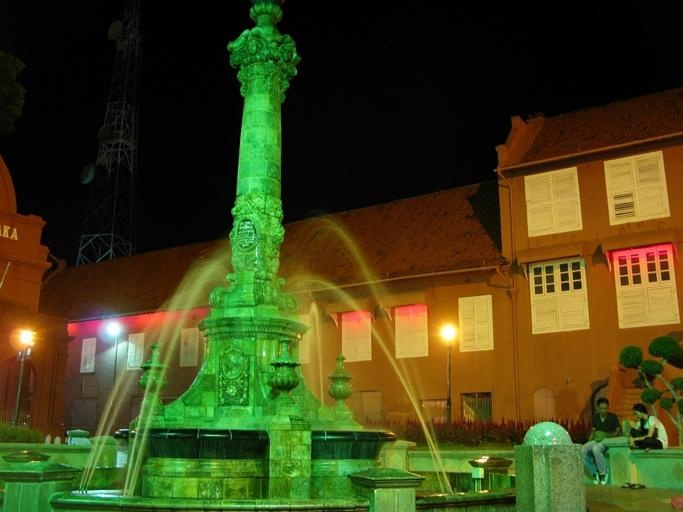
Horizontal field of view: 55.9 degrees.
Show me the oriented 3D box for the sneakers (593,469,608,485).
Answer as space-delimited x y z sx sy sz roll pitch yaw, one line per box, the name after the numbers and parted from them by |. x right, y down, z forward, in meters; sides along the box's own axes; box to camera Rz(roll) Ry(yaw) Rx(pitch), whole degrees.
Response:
6.194 5.341 15.577 0.154 0.276 0.369 14 -26 -33 | sneakers

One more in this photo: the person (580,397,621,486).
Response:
6.355 4.520 15.868 0.922 2.048 0.582 -9 -22 22 | person

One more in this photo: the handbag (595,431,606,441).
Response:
6.273 4.373 15.721 0.238 0.115 0.185 -2 -7 36 | handbag

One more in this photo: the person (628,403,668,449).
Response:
7.064 4.125 14.827 0.817 1.406 0.642 2 -9 -1 | person
